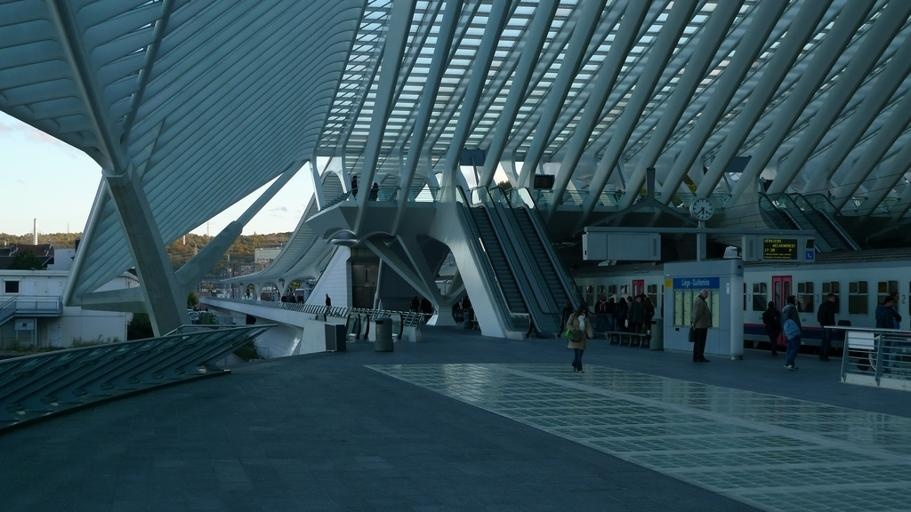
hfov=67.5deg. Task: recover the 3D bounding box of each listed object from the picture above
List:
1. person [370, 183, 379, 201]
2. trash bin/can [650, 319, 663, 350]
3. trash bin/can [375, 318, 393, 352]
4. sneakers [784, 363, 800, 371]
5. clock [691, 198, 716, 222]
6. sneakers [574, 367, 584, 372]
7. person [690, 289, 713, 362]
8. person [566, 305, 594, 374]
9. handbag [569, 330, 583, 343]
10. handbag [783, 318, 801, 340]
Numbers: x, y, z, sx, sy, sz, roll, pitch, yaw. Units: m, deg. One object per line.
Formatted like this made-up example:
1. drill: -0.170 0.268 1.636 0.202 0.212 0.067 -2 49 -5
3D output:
1. person: -4.555 -3.697 39.467 0.547 1.003 0.943 1 -4 -3
2. trash bin/can: 7.442 2.934 25.269 0.458 1.126 0.735 -1 -4 14
3. trash bin/can: -2.482 2.827 24.253 0.587 1.181 0.572 1 -4 -9
4. sneakers: 10.025 3.327 20.320 0.492 0.191 0.157 1 0 -17
5. clock: 10.001 -1.818 27.933 0.999 0.997 0.234 1 -13 2
6. sneakers: 3.523 3.247 19.334 0.112 0.124 0.288 1 -9 -6
7. person: 7.804 2.277 21.799 0.555 2.249 0.723 -1 -5 19
8. person: 3.469 2.334 19.130 0.661 1.896 1.167 -1 -4 12
9. handbag: 3.357 2.231 18.887 0.389 0.346 0.279 6 -8 16
10. handbag: 9.986 2.192 20.316 0.404 0.587 0.247 -1 -5 16
